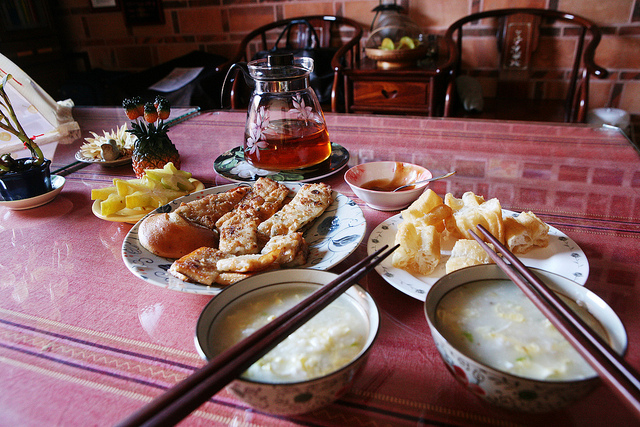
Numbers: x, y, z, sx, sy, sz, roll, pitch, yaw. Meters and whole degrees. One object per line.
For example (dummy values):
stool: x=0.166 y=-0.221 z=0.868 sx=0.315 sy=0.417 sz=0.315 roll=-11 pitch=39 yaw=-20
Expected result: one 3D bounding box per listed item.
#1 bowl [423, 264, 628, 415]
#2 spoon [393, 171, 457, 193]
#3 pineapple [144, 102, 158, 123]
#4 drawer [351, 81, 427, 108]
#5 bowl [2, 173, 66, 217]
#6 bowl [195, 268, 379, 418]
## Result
bowl: x=0.254 y=0.175 z=0.589 sx=0.169 sy=0.120 sz=0.214 roll=-19 pitch=35 yaw=-27
spoon: x=0.238 y=-0.072 z=0.991 sx=0.125 sy=0.020 sz=0.017 roll=-20 pitch=45 yaw=-24
pineapple: x=-0.441 y=-0.261 z=1.119 sx=0.031 sy=0.053 sz=0.045 roll=-17 pitch=34 yaw=-22
drawer: x=0.378 y=-0.652 z=2.332 sx=0.407 sy=0.134 sz=0.050 roll=6 pitch=33 yaw=13
bowl: x=-0.680 y=-0.047 z=1.024 sx=0.093 sy=0.024 sz=0.098 roll=1 pitch=31 yaw=0
bowl: x=-0.034 y=0.120 z=0.597 sx=0.227 sy=0.095 sz=0.214 roll=-1 pitch=23 yaw=1
